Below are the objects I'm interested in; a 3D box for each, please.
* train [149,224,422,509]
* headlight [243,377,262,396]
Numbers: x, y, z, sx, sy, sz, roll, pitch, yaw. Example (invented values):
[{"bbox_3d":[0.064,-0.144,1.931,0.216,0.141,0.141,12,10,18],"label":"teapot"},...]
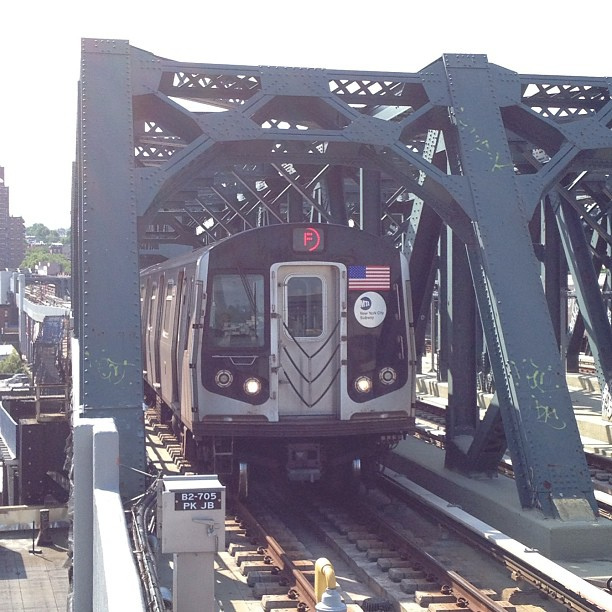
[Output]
[{"bbox_3d":[-0.365,0.780,12.383,2.793,3.740,2.956,0,4,-22],"label":"train"},{"bbox_3d":[-0.636,0.966,11.135,0.200,0.208,0.065,3,-4,-11],"label":"headlight"}]
